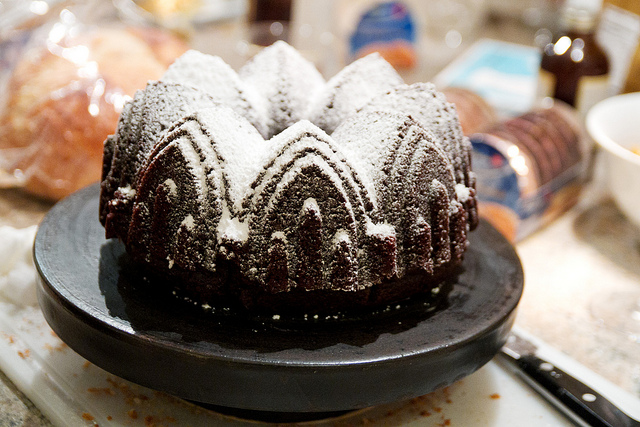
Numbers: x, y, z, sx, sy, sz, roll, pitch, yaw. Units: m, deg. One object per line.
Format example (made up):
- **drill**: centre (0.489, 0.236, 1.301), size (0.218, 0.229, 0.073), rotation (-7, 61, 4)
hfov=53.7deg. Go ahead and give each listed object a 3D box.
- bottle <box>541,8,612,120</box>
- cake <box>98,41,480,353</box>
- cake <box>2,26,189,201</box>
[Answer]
- **bottle**: centre (0.748, -0.423, 1.837), size (0.138, 0.431, 0.141), rotation (-4, 51, 5)
- **cake**: centre (-0.035, 0.032, 1.358), size (0.594, 0.700, 0.625), rotation (1, 29, -1)
- **cake**: centre (-0.632, -0.347, 1.790), size (0.559, 0.318, 0.443), rotation (-35, 46, -23)
